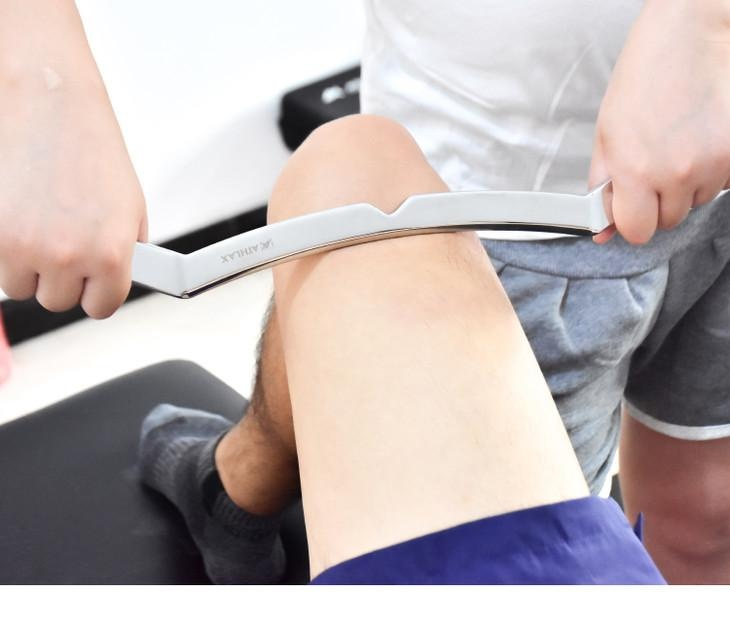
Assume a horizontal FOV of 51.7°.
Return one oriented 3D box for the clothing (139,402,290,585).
[{"bbox_3d":[-0.141,0.177,0.709,0.064,0.129,0.116,-39,31,-30],"label":"clothing"}]
